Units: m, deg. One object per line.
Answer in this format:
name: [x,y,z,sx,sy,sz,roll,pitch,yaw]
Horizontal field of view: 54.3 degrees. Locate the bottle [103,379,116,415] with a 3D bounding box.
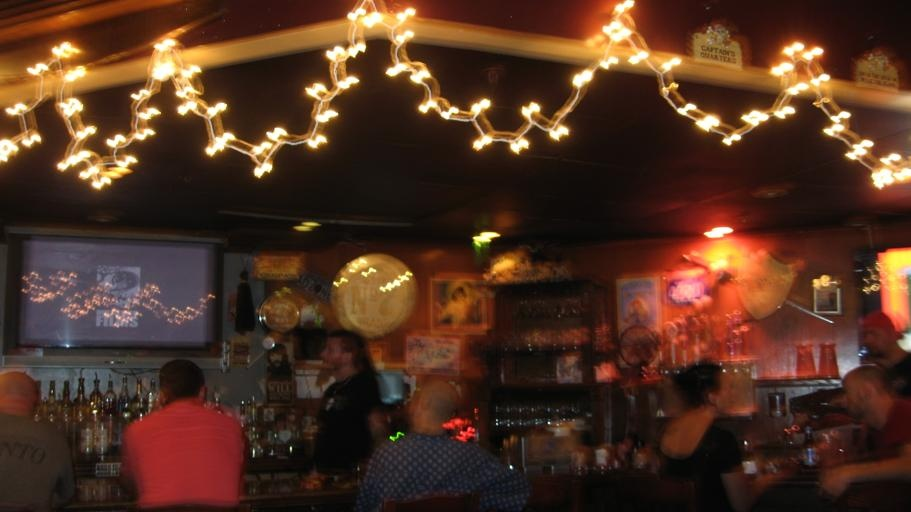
bottle: [-3.480,1.406,8.930,0.136,0.358,0.230,5,-10,-20]

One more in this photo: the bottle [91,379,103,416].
bottle: [-3.610,1.379,8.902,0.119,0.366,0.227,5,-10,-21]

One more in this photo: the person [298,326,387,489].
person: [-1.116,1.472,8.424,0.686,1.948,0.999,12,-19,-21]

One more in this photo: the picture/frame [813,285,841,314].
picture/frame: [4.171,0.496,9.894,0.350,0.363,0.028,-1,-2,13]

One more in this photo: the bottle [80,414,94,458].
bottle: [-3.614,1.764,8.669,0.141,0.346,0.037,1,-10,5]

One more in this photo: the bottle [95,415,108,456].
bottle: [-3.485,1.767,8.722,0.130,0.365,0.059,3,-10,-9]

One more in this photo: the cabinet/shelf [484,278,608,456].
cabinet/shelf: [1.027,1.433,10.139,1.419,2.124,0.792,0,1,10]

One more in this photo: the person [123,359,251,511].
person: [-2.055,1.402,7.260,1.248,1.521,1.020,-1,-11,-9]
